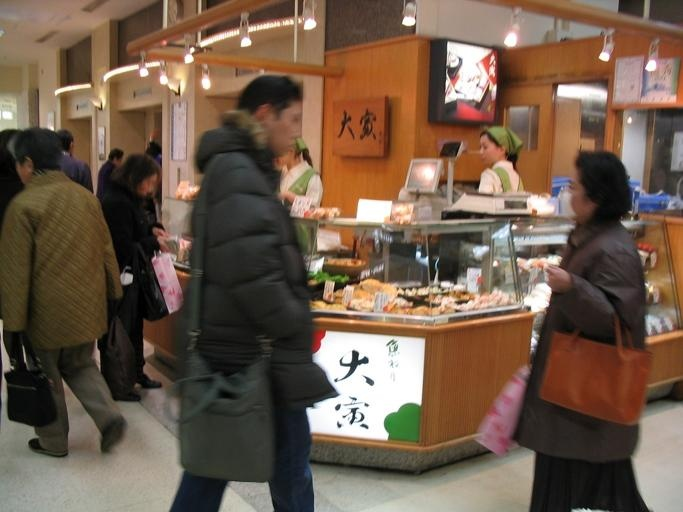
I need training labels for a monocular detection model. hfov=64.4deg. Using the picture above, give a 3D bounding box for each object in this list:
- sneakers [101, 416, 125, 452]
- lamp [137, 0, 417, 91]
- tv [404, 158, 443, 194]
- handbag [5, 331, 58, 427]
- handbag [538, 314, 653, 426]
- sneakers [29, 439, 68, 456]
[{"bbox_3d":[-1.388,1.079,3.292,0.066,0.202,0.145,27,-8,4],"label":"sneakers"},{"bbox_3d":[-0.804,-2.204,6.263,1.823,0.466,1.850,9,12,36],"label":"lamp"},{"bbox_3d":[0.697,-0.684,4.631,0.328,0.334,0.088,9,-11,41],"label":"tv"},{"bbox_3d":[-1.788,0.725,3.124,0.250,0.566,0.170,0,5,13],"label":"handbag"},{"bbox_3d":[1.067,0.486,2.310,0.384,0.470,0.149,17,15,28],"label":"handbag"},{"bbox_3d":[-1.794,1.184,3.361,0.230,0.077,0.104,10,4,9],"label":"sneakers"}]
